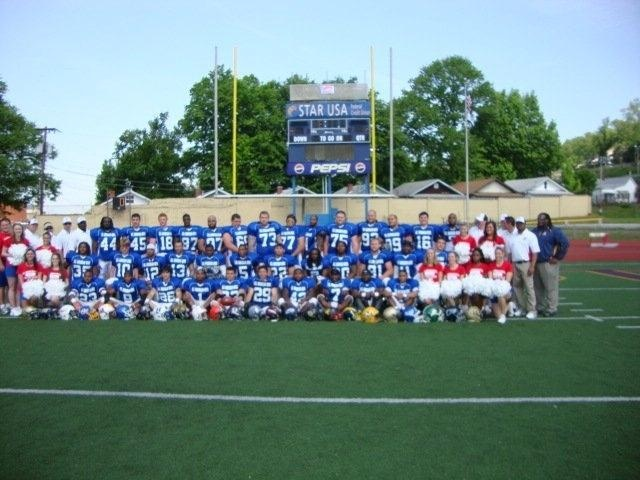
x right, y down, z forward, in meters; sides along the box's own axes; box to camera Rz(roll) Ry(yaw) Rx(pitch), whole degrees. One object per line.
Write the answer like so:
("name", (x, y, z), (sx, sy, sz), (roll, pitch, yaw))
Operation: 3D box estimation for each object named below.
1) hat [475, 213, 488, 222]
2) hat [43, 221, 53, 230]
("hat", (2.527, -0.365, 12.083), (0.142, 0.089, 0.113), (6, 4, -20))
("hat", (-4.329, -0.234, 12.540), (0.115, 0.144, 0.161), (10, -43, -24))
